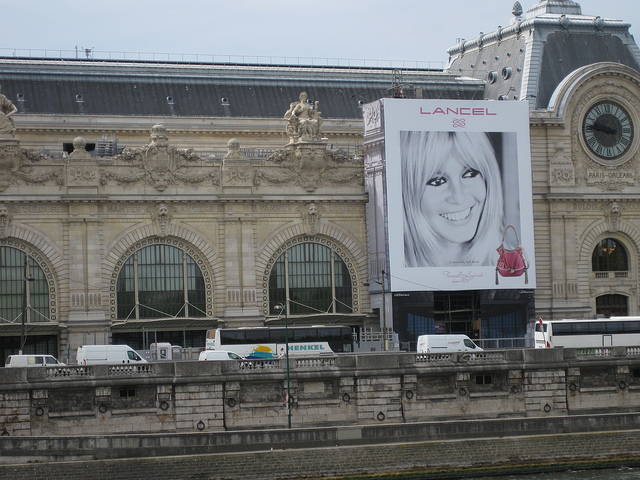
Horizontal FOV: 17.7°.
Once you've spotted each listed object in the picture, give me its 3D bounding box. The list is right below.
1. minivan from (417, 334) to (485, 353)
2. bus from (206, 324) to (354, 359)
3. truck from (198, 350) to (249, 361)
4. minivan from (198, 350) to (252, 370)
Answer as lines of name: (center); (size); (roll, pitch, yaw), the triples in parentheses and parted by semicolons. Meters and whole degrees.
minivan: (10.711, 9.383, 167.018); (4.949, 2.205, 2.008); (-2, -1, -12)
bus: (-2.722, 9.272, 167.646); (11.776, 3.007, 3.243); (-1, -6, -19)
truck: (-7.575, 9.630, 160.427); (2.628, 0.960, 1.427); (-1, 1, -28)
minivan: (-7.587, 10.102, 160.394); (2.941, 1.017, 1.604); (0, -2, -27)
